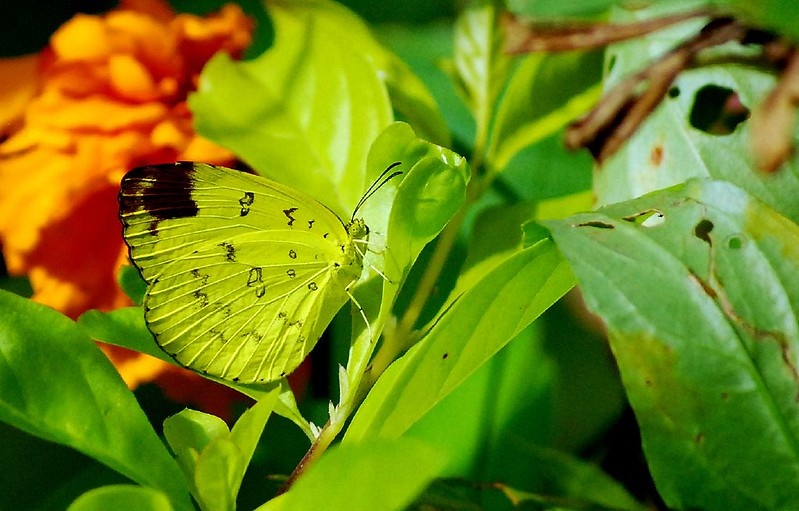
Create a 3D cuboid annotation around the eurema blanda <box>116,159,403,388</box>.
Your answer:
[{"bbox_3d":[-0.191,0.010,1.124,0.275,0.183,0.284,-21,-11,14],"label":"eurema blanda"}]
